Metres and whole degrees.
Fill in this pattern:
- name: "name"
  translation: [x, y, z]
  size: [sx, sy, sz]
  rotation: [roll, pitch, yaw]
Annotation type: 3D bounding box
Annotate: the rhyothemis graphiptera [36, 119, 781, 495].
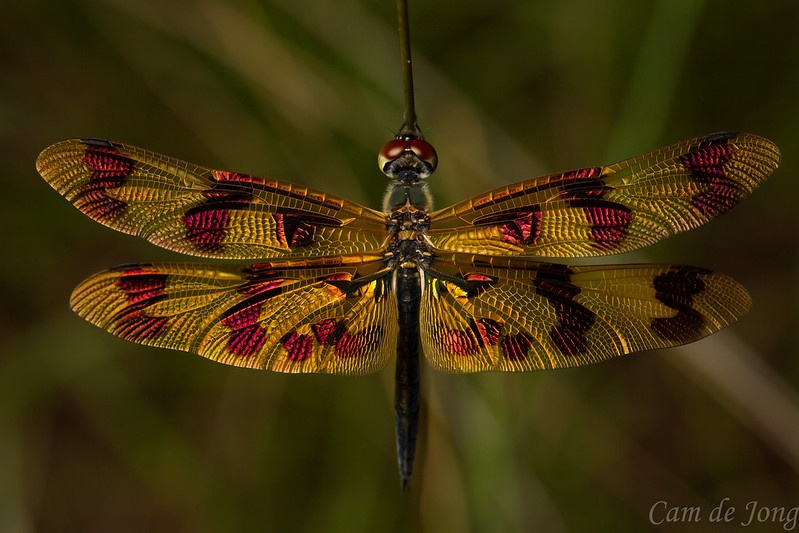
- name: "rhyothemis graphiptera"
  translation: [0.029, 0.034, 1.695]
  size: [1.528, 0.393, 0.552]
  rotation: [-2, -51, -2]
